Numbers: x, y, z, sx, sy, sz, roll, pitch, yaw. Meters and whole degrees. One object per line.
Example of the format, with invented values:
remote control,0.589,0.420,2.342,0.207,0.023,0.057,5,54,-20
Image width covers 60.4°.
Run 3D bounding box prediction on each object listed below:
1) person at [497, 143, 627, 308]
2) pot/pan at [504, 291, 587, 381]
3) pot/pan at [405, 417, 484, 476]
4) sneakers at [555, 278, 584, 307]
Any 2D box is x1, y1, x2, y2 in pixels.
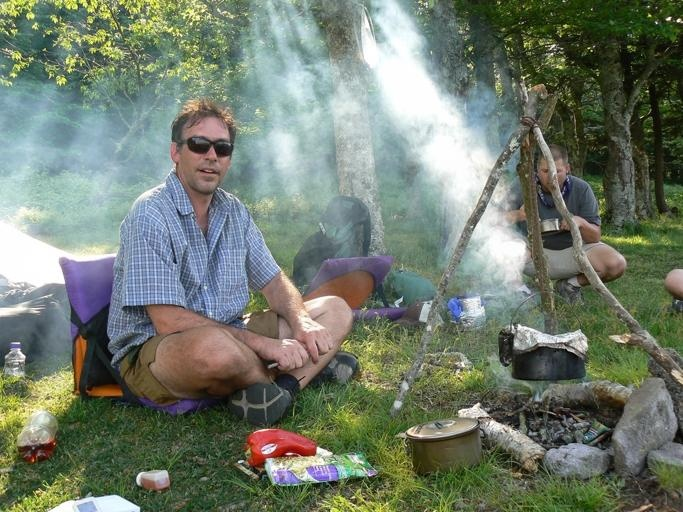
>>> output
person,2.082,-0.313,5.872,1.310,1.572,0.863,-2,15,18
pot/pan,1.197,0.547,3.477,0.403,0.244,0.343,-7,-9,29
pot/pan,0.578,1.044,3.288,0.420,0.253,0.417,-7,-7,-18
sneakers,2.214,0.350,5.738,0.121,0.152,0.342,5,37,-39
